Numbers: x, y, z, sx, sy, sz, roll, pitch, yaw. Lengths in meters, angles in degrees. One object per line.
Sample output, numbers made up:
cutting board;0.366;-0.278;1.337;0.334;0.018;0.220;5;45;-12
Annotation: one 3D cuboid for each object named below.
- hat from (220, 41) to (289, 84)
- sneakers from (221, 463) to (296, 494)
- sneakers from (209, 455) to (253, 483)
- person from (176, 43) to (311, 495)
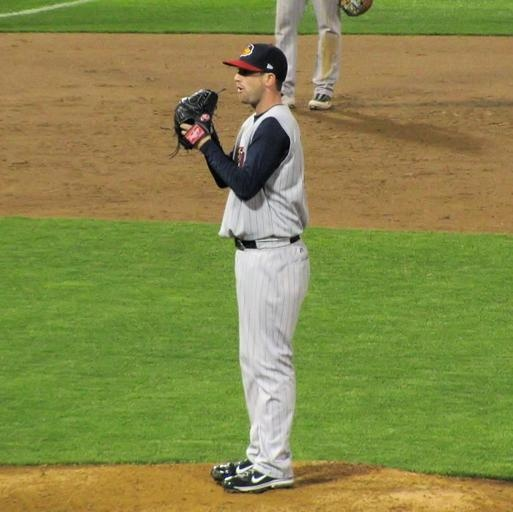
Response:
hat;0.013;-1.415;10.666;0.362;0.222;0.277;10;9;-10
sneakers;0.029;1.662;10.755;0.487;0.244;0.180;2;-4;-5
sneakers;-0.194;1.597;10.743;0.358;0.181;0.136;-3;2;-2
person;-0.025;0.093;10.662;0.805;3.130;1.022;-3;17;-20
